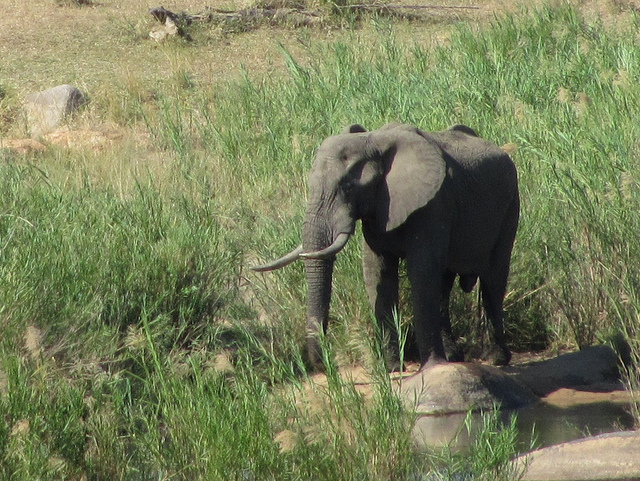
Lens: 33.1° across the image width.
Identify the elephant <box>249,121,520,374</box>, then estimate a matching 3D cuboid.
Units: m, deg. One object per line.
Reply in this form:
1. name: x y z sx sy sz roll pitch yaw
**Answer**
1. elephant: 0.811 0.115 9.255 2.361 2.313 1.328 0 4 -30
